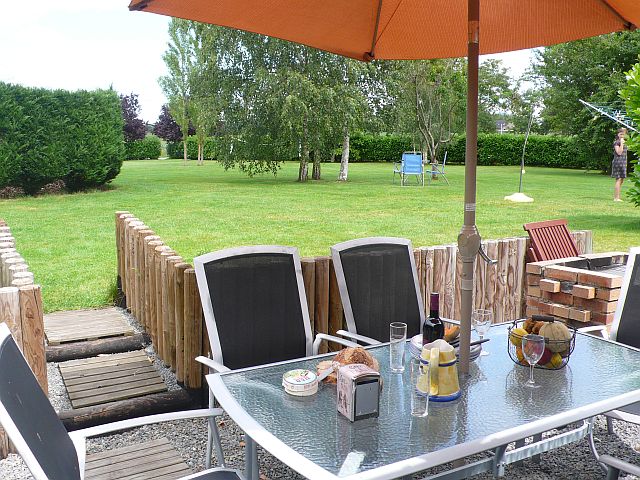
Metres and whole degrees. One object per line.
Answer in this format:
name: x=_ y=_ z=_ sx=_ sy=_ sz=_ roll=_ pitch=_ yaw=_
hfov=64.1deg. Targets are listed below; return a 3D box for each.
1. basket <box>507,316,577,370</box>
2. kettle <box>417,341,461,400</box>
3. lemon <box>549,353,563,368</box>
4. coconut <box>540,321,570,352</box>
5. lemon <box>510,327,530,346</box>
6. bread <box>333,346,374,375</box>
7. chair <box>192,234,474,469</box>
basket: x=1.033 y=0.446 z=2.392 sx=0.267 sy=0.254 sz=0.251 roll=11 pitch=16 yaw=34
kettle: x=0.482 y=0.517 z=2.035 sx=0.148 sy=0.219 sz=0.233 roll=1 pitch=5 yaw=9
lemon: x=1.065 y=0.546 z=2.317 sx=0.058 sy=0.075 sz=0.059 roll=28 pitch=-32 yaw=-22
coconut: x=1.064 y=0.442 z=2.326 sx=0.078 sy=0.101 sz=0.082 roll=-18 pitch=10 yaw=8
lemon: x=0.927 y=0.447 z=2.382 sx=0.070 sy=0.095 sz=0.077 roll=-14 pitch=-19 yaw=27
bread: x=0.150 y=0.507 z=2.189 sx=0.107 sy=0.063 sz=0.100 roll=1 pitch=-2 yaw=-31
chair: x=-0.064 y=0.352 z=3.104 sx=1.133 sy=1.296 sz=0.995 roll=1 pitch=16 yaw=-39
